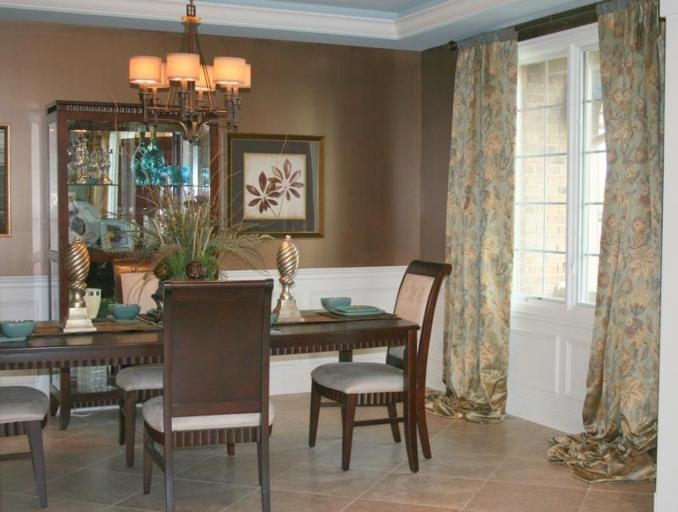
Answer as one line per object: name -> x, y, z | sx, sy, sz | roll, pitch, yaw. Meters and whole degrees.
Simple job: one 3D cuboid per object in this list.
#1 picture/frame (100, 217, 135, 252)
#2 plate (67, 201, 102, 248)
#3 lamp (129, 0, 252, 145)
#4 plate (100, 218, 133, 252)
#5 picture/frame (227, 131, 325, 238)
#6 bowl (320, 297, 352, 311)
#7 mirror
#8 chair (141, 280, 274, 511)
picture/frame -> -1.833, -0.131, 5.272 | 0.320, 0.344, 0.243 | 2, -10, -22
plate -> -2.042, -0.272, 5.077 | 0.319, 0.330, 0.236 | 1, 3, -24
lamp -> -1.044, -1.395, 4.382 | 0.751, 1.197, 1.578 | -1, 6, -17
plate -> -1.842, -0.137, 5.275 | 0.310, 0.320, 0.238 | 2, -4, -31
picture/frame -> -0.621, -0.675, 5.772 | 1.043, 1.121, 0.041 | 1, 1, -24
bowl -> -0.039, 0.323, 4.464 | 0.117, 0.055, 0.118 | -1, 1, 0
mirror -> -1.622, -0.556, 4.910 | 1.005, 0.971, 0.340 | -3, 8, -32
chair -> -0.723, 0.757, 3.411 | 0.732, 1.318, 0.484 | 0, 6, -5
